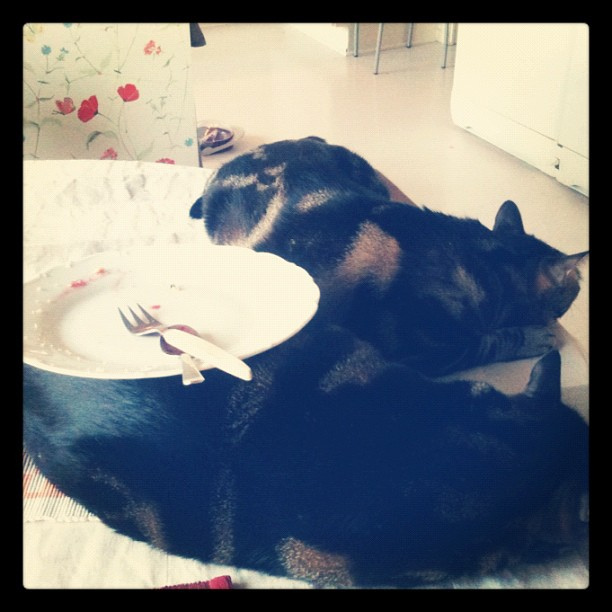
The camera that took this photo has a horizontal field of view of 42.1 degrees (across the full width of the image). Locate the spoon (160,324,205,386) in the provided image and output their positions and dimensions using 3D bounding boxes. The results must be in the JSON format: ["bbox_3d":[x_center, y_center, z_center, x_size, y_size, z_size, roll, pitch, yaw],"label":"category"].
[{"bbox_3d":[-0.206,0.084,1.372,0.062,0.088,0.083,-17,36,-32],"label":"spoon"}]

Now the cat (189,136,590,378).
[{"bbox_3d":[0.153,-0.088,1.292,0.647,0.393,0.195,9,-3,-1],"label":"cat"}]

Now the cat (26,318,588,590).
[{"bbox_3d":[-0.176,0.209,1.553,1.383,0.309,0.619,1,4,1],"label":"cat"}]

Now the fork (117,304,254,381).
[{"bbox_3d":[-0.200,0.068,1.372,0.252,0.036,0.034,25,-6,-4],"label":"fork"}]
